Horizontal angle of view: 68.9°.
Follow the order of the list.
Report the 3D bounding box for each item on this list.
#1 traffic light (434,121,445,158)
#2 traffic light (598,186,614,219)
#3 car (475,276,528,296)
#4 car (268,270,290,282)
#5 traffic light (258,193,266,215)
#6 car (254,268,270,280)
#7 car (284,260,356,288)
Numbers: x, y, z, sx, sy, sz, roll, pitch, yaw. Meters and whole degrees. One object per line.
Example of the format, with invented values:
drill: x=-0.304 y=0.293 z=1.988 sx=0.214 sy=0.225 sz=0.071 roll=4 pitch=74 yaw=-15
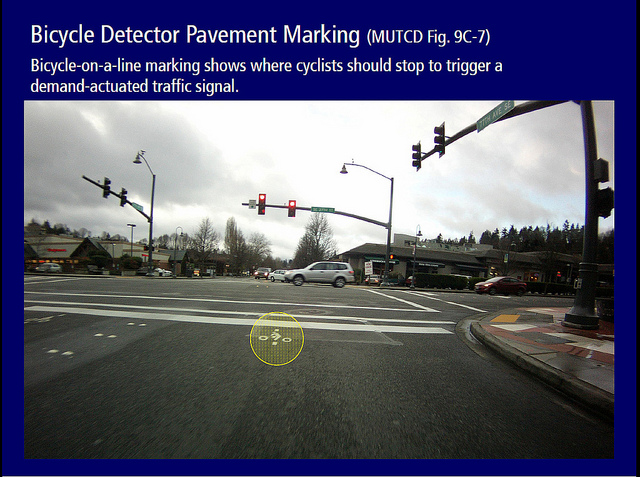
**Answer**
traffic light: x=3.237 y=-2.666 z=12.683 sx=0.266 sy=0.811 sz=1.149 roll=4 pitch=13 yaw=13
traffic light: x=5.075 y=-0.634 z=8.338 sx=0.209 sy=0.545 sz=0.617 roll=6 pitch=13 yaw=19
car: x=9.118 y=2.456 z=23.618 sx=2.034 sy=0.873 sz=1.069 roll=4 pitch=-7 yaw=-3
car: x=-2.868 y=2.508 z=31.945 sx=1.885 sy=0.798 sz=0.942 roll=-9 pitch=-9 yaw=30
traffic light: x=-2.728 y=-1.576 z=21.818 sx=0.247 sy=0.874 sz=0.341 roll=-1 pitch=12 yaw=-12
car: x=-5.105 y=3.083 z=40.980 sx=0.979 sy=0.995 sz=1.891 roll=2 pitch=-8 yaw=-14
car: x=0.057 y=1.754 z=22.363 sx=2.716 sy=1.238 sz=1.364 roll=4 pitch=-9 yaw=-3
